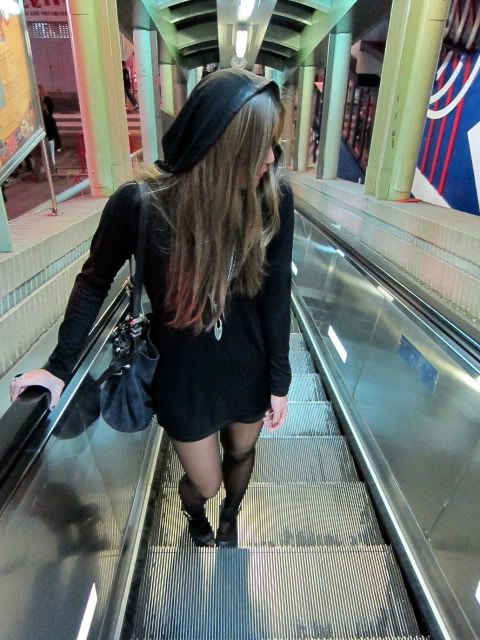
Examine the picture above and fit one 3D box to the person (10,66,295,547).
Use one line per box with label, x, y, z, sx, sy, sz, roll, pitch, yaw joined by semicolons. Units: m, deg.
person;-0.163;0.291;1.041;0.672;1.784;0.296;-17;33;-30
